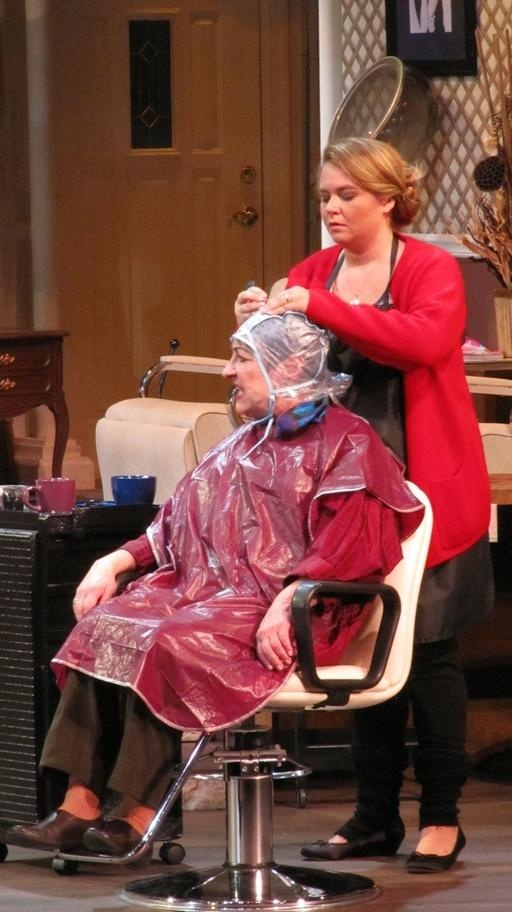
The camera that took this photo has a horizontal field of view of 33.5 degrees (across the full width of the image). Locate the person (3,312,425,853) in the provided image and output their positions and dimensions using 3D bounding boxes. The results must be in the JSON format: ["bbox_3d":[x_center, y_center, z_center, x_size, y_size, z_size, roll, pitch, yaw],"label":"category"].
[{"bbox_3d":[-0.060,0.163,1.237,0.550,0.716,0.479,2,-2,-20],"label":"person"}]

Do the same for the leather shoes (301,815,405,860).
[{"bbox_3d":[0.185,0.702,1.583,0.213,0.087,0.068,4,-10,-10],"label":"leather shoes"}]

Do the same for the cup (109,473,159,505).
[{"bbox_3d":[-0.257,0.064,1.723,0.071,0.051,0.064,-2,3,1],"label":"cup"}]

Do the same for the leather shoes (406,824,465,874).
[{"bbox_3d":[0.312,0.682,1.471,0.045,0.055,0.136,-7,-16,32],"label":"leather shoes"}]

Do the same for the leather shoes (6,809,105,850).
[{"bbox_3d":[-0.276,0.500,1.167,0.115,0.040,0.055,10,-13,-36],"label":"leather shoes"}]

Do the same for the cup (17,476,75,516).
[{"bbox_3d":[-0.399,0.076,1.606,0.099,0.064,0.059,-2,3,-20],"label":"cup"}]

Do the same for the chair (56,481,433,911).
[{"bbox_3d":[0.070,0.415,1.407,0.695,0.734,0.491,4,-7,-23],"label":"chair"}]
